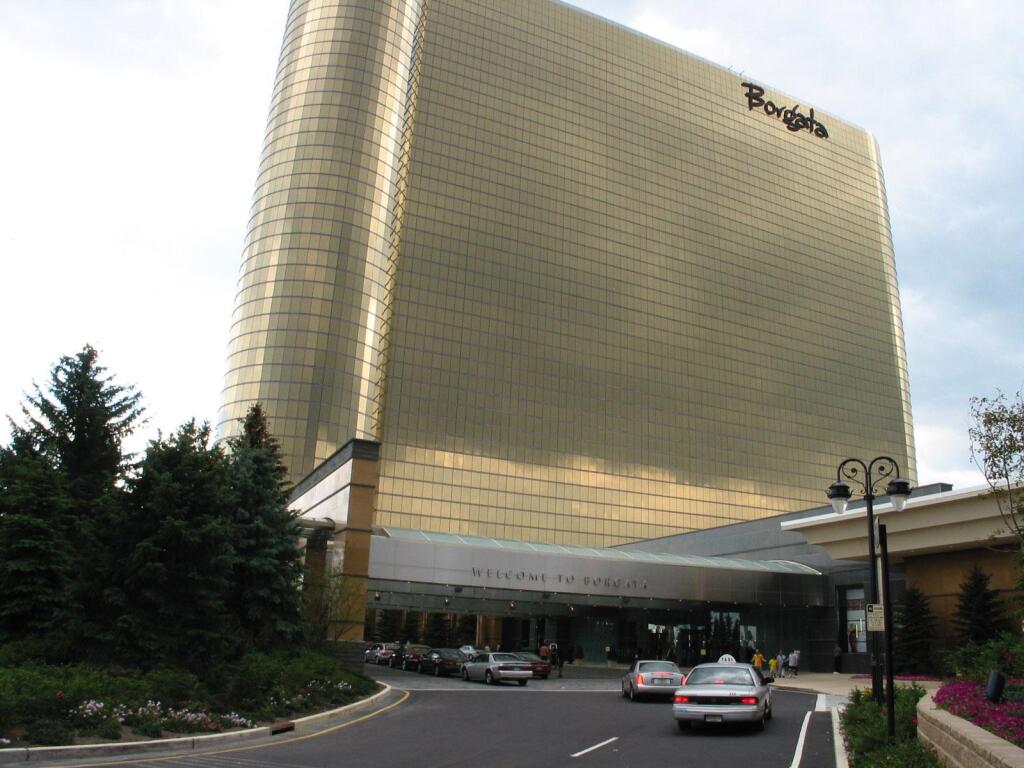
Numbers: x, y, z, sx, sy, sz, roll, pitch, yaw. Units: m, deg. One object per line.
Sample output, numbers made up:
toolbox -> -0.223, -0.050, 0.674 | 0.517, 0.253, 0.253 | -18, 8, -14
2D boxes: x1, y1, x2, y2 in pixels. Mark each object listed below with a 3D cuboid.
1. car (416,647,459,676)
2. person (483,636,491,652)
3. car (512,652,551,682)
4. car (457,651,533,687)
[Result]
car -> -3.527, 14.129, 47.718 | 1.249, 0.845, 2.655 | 7, -13, -20
person -> -1.618, 17.436, 63.644 | 0.550, 0.761, 0.790 | -1, -19, -1
car -> 1.323, 14.529, 48.105 | 1.375, 0.946, 2.967 | 4, -11, -14
car -> -0.646, 13.202, 43.714 | 1.768, 1.537, 3.430 | 12, -23, -36
